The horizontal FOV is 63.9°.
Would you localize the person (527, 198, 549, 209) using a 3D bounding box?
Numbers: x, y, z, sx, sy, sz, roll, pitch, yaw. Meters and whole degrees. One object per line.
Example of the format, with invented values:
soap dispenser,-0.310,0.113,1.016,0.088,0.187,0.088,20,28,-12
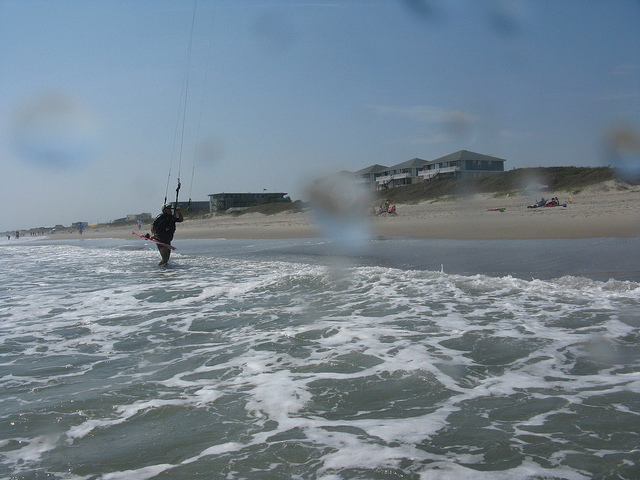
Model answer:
person,14.743,-2.439,34.966,1.078,0.505,1.737,1,12,23
